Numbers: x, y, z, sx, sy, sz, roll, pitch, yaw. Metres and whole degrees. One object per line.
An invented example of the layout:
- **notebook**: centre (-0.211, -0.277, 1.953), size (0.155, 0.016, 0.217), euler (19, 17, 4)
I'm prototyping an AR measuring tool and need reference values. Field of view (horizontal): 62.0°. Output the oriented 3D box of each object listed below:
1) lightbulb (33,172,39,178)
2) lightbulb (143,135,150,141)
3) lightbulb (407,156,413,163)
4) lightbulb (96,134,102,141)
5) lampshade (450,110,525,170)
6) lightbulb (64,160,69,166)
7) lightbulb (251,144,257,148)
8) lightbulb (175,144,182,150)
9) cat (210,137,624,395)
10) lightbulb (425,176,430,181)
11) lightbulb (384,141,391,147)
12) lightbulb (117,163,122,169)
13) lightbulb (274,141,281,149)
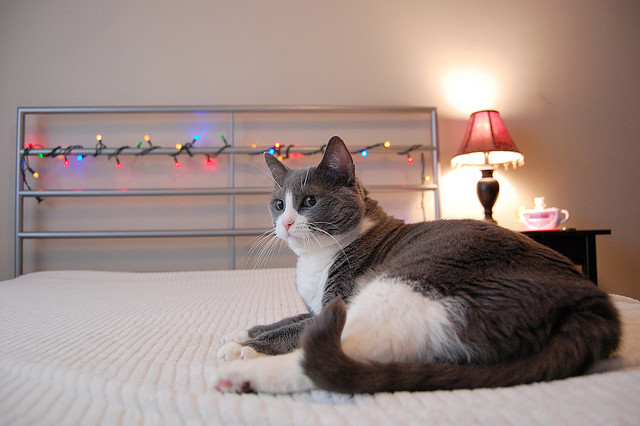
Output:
- **lightbulb**: centre (-1.924, -0.260, 3.622), size (0.029, 0.036, 0.035), euler (-4, 12, -22)
- **lightbulb**: centre (-1.168, -0.515, 3.597), size (0.052, 0.019, 0.051), euler (-23, 33, -36)
- **lightbulb**: centre (0.636, -0.382, 3.777), size (0.044, 0.044, 0.015), euler (2, -6, 9)
- **lightbulb**: centre (-1.512, -0.524, 3.652), size (0.033, 0.022, 0.039), euler (-8, 8, -15)
- **lampshade**: centre (1.127, -0.501, 3.621), size (0.486, 0.367, 0.499), euler (-3, -4, 40)
- **lightbulb**: centre (-1.712, -0.338, 3.607), size (0.027, 0.037, 0.081), euler (-5, 12, -26)
- **lightbulb**: centre (-0.448, -0.463, 3.655), size (0.033, 0.018, 0.033), euler (-3, 3, -43)
- **lightbulb**: centre (-0.949, -0.451, 3.596), size (0.040, 0.020, 0.041), euler (4, 7, 34)
- **cat**: centre (0.412, 0.250, 2.610), size (1.639, 1.003, 1.100), euler (-5, -10, 16)
- **lightbulb**: centre (0.757, -0.244, 3.743), size (0.029, 0.029, 0.029), euler (4, 44, 7)
- **lightbulb**: centre (0.467, -0.480, 3.672), size (0.042, 0.029, 0.052), euler (6, 9, 16)
- **lightbulb**: centre (-1.365, -0.323, 3.628), size (0.024, 0.032, 0.012), euler (-1, 12, 2)
- **lightbulb**: centre (-0.289, -0.468, 3.634), size (0.047, 0.019, 0.062), euler (-6, 17, -12)
